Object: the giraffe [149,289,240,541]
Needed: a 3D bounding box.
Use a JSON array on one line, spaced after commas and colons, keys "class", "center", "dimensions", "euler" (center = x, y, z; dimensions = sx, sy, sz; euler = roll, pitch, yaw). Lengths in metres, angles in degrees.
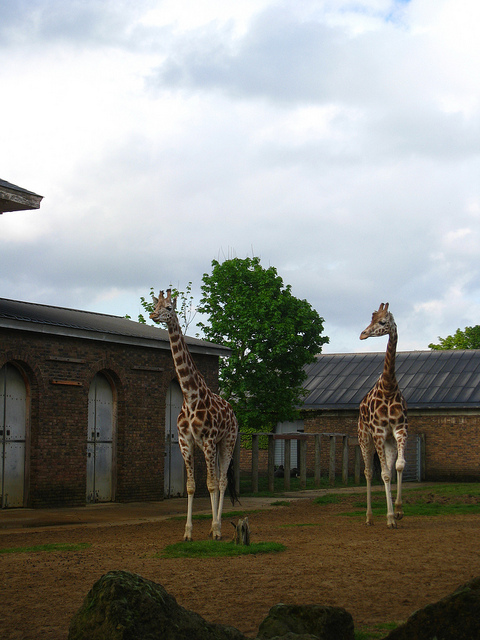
[{"class": "giraffe", "center": [-0.657, 1.428, 11.980], "dimensions": [0.795, 3.437, 2.068], "euler": [-3, -8, 12]}]
